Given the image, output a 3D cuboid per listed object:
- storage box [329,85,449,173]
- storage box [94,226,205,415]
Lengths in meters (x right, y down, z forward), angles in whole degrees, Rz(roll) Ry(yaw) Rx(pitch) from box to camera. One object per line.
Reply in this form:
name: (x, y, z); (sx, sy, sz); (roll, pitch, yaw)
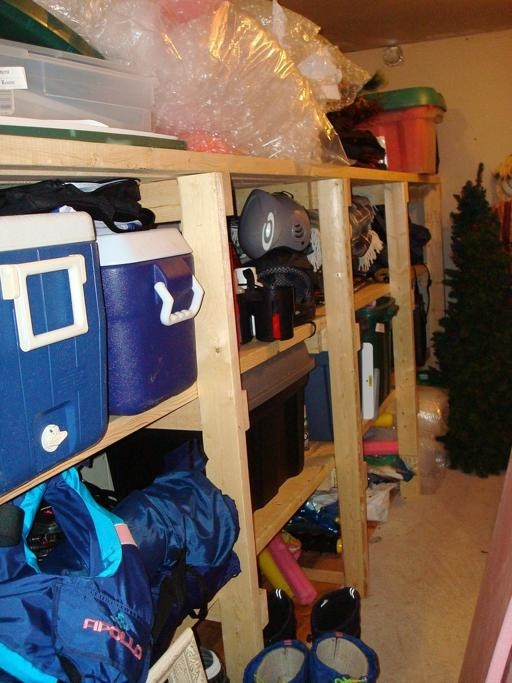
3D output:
storage box: (0.683, -1.121, 3.053); (0.662, 0.392, 0.479); (1, 14, 27)
storage box: (-0.172, -0.036, 0.954); (0.105, 0.319, 0.255); (3, 13, 29)
